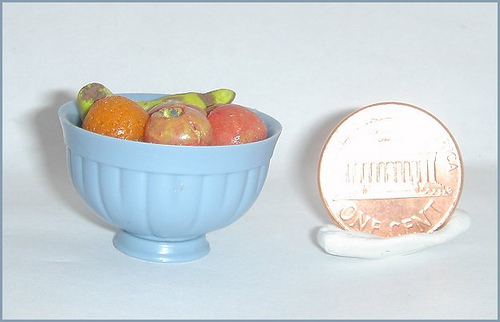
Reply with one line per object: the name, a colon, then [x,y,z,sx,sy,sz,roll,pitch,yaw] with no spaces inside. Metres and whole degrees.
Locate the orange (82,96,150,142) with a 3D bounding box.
orange: [-0.481,-0.161,1.868,0.199,0.108,0.160,10,54,-11]

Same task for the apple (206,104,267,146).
apple: [-0.046,-0.128,1.929,0.154,0.097,0.176,6,22,-11]

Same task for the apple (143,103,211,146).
apple: [-0.250,-0.113,1.881,0.169,0.160,0.173,6,0,34]

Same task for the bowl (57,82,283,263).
bowl: [-0.287,0.035,2.135,0.735,0.521,0.758,4,-4,0]
